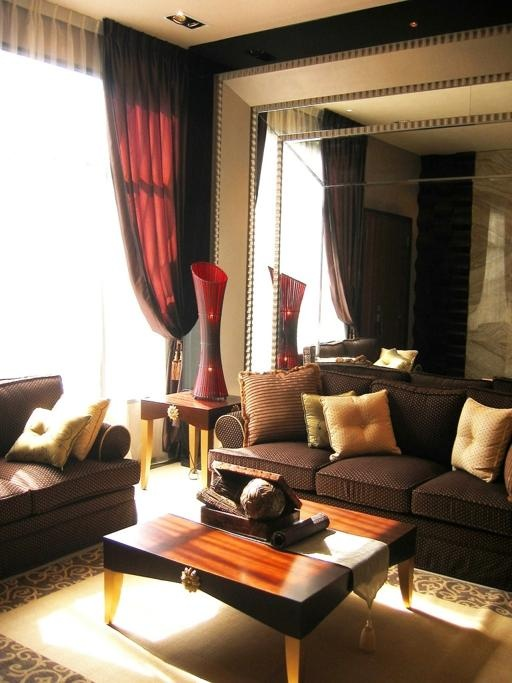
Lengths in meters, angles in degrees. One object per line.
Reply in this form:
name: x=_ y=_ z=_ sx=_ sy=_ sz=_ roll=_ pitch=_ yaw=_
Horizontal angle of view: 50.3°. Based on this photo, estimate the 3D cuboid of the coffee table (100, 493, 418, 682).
coffee table: x=0.031 y=0.810 z=1.981 sx=0.881 sy=0.383 sz=0.890 roll=1 pitch=1 yaw=37

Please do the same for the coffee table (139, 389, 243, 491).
coffee table: x=-0.517 y=0.566 z=3.614 sx=0.599 sy=0.625 sz=0.618 roll=4 pitch=3 yaw=44
